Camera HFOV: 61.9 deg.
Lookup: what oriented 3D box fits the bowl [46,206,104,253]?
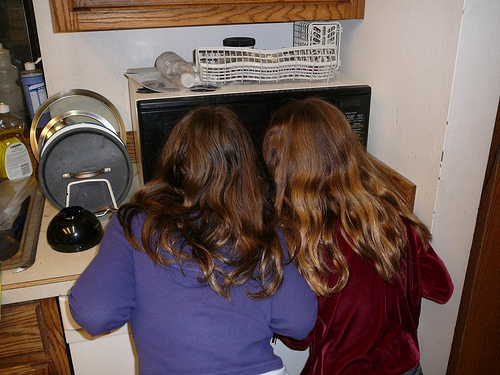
[{"bbox_3d":[-0.578,0.130,1.379,0.166,0.124,0.182,-2,12,0],"label":"bowl"}]

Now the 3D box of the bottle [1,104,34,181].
[{"bbox_3d":[-0.899,-0.169,1.564,0.115,0.285,0.086,-15,21,-32],"label":"bottle"}]

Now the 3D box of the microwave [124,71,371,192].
[{"bbox_3d":[0.050,-0.083,1.631,0.800,0.474,0.595,-11,-15,11],"label":"microwave"}]
